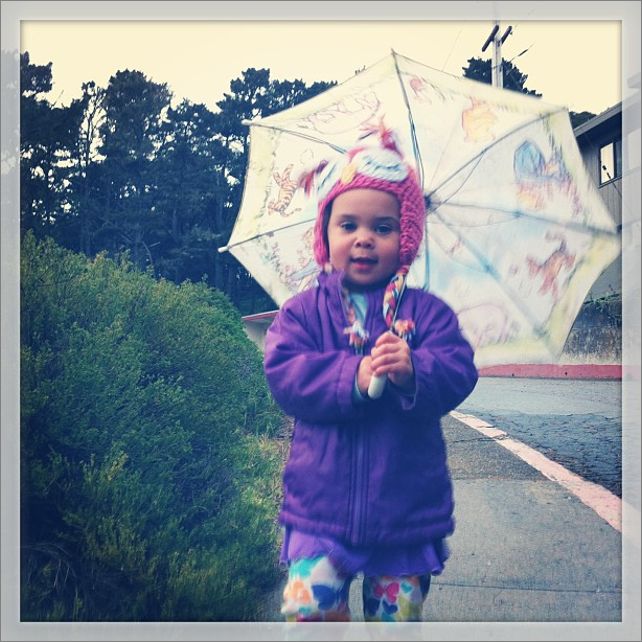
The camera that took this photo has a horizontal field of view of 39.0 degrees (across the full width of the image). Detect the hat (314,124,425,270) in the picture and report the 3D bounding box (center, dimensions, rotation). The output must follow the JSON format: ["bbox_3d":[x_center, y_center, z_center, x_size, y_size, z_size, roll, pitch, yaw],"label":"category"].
[{"bbox_3d":[0.285,-0.689,5.105,0.493,0.779,0.750,16,-39,5],"label":"hat"}]
